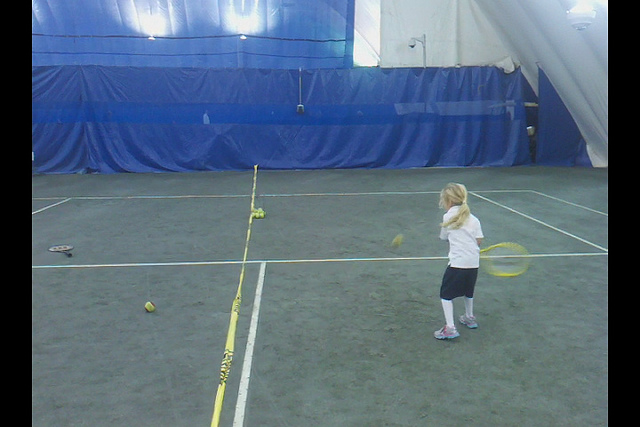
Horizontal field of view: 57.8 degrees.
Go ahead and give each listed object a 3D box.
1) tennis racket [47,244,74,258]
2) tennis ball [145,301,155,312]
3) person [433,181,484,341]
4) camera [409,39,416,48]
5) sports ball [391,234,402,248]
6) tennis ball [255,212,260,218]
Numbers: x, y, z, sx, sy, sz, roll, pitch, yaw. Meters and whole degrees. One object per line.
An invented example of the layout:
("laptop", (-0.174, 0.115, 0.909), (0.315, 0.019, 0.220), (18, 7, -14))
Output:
("tennis racket", (-3.496, 0.494, 7.776), (0.237, 0.073, 0.221), (-2, 11, -10))
("tennis ball", (-1.731, 0.945, 5.847), (0.111, 0.086, 0.069), (1, 10, 9))
("person", (1.276, 0.444, 5.348), (0.397, 1.369, 0.510), (2, 11, 15))
("camera", (2.938, -5.344, 18.274), (0.193, 0.186, 0.195), (-1, 4, -2))
("sports ball", (1.058, 0.394, 8.002), (0.085, 0.089, 0.191), (-19, -25, -29))
("tennis ball", (-1.038, 0.040, 9.661), (0.089, 0.062, 0.080), (2, 10, 14))
